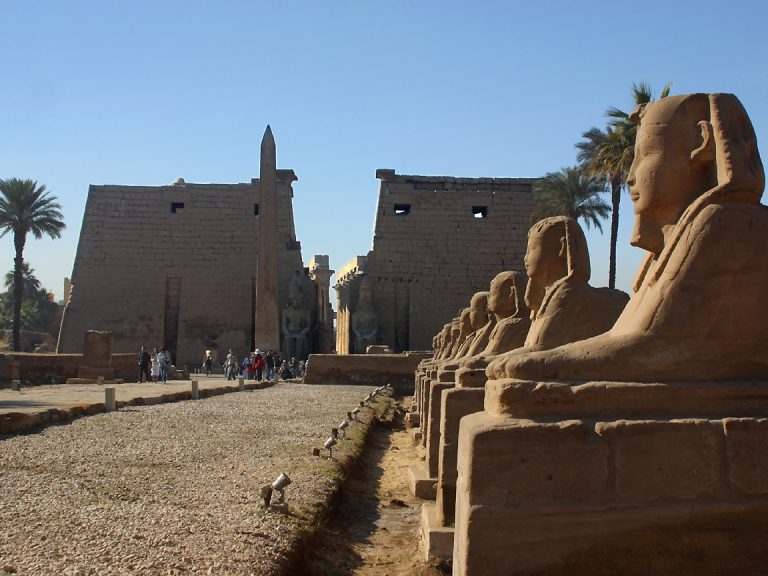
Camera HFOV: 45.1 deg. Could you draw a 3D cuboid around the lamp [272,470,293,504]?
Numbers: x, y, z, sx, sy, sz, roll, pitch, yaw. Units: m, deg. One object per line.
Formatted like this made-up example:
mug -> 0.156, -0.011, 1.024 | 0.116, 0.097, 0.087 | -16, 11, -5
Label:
lamp -> -0.715, 1.404, 6.462 | 0.142, 0.188, 0.145 | 16, -42, 18
